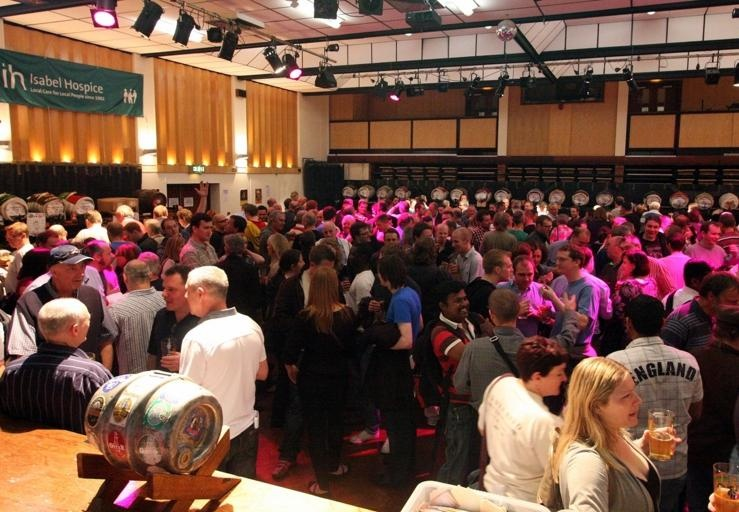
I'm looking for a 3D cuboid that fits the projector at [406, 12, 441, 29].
[{"bbox_3d":[0.755,-3.280,7.914,0.449,0.205,0.414,2,9,19],"label":"projector"}]

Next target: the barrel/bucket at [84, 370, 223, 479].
[{"bbox_3d":[-0.959,0.747,2.547,0.545,0.433,0.431,4,-4,29],"label":"barrel/bucket"}]

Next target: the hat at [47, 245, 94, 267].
[{"bbox_3d":[-2.165,0.003,4.090,0.232,0.118,0.152,-7,1,3],"label":"hat"}]
